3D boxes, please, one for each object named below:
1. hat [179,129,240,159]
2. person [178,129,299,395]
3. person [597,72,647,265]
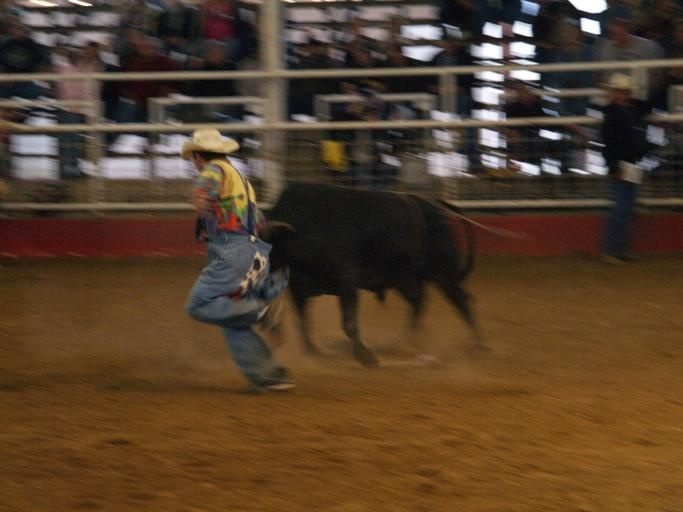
[{"bbox_3d":[-0.802,-0.616,4.879,0.295,0.082,0.278,-8,2,-36],"label":"hat"},{"bbox_3d":[-0.583,0.026,4.920,0.589,1.483,0.457,-2,18,-5],"label":"person"},{"bbox_3d":[2.284,-0.717,7.043,0.317,1.514,0.352,-2,18,-5],"label":"person"}]
